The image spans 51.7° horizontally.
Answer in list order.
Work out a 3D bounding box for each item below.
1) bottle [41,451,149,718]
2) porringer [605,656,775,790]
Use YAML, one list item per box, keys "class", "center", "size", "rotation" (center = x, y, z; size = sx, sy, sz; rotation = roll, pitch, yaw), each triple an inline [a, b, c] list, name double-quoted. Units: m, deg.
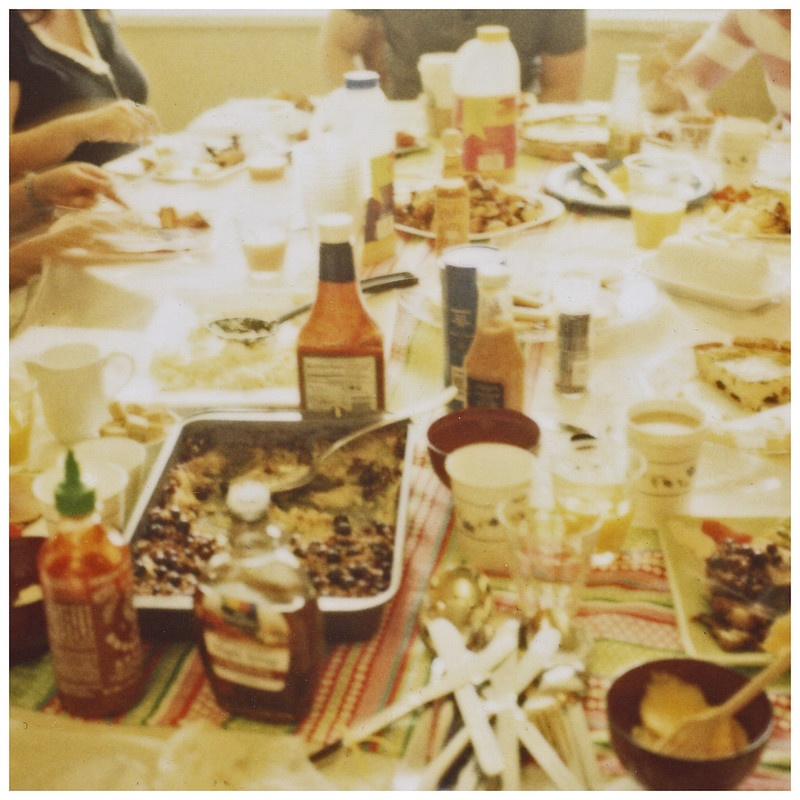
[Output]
- class: "bottle"
  center: [-0.280, 0.167, 0.728]
  size: [0.074, 0.251, 0.081]
  rotation: [-3, 31, 2]
- class: "porringer"
  center: [0.235, 0.238, 0.661]
  size: [0.124, 0.065, 0.112]
  rotation: [0, 20, 6]
